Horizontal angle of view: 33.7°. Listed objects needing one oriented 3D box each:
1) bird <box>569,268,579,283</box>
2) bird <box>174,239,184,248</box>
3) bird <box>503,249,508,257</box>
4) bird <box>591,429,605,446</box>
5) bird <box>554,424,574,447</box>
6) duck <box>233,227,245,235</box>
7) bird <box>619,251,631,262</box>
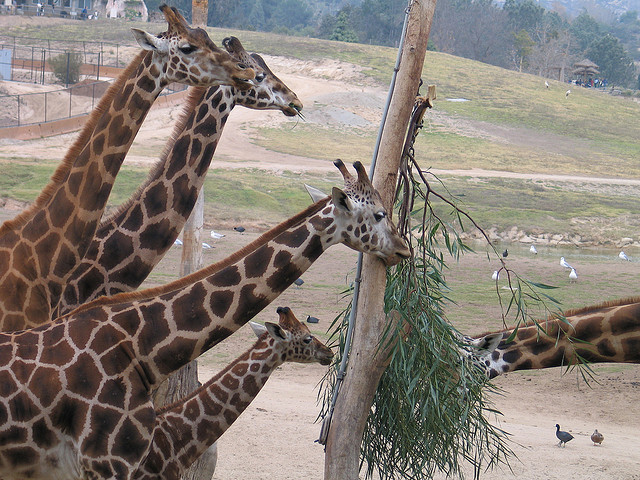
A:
[{"bbox_3d":[7.442,0.996,31.332,0.222,0.446,0.331,-6,-15,15],"label":"bird"},{"bbox_3d":[-3.613,0.063,27.203,0.237,0.108,0.237,0,-9,-1],"label":"bird"},{"bbox_3d":[5.549,0.367,31.853,0.187,0.249,0.092,25,51,31],"label":"bird"},{"bbox_3d":[5.464,3.893,20.974,0.174,0.244,0.399,-1,-28,8],"label":"bird"},{"bbox_3d":[4.773,3.823,20.829,0.345,0.273,0.540,10,10,14],"label":"bird"},{"bbox_3d":[-2.540,-0.360,33.471,0.369,0.239,0.132,-6,3,33],"label":"duck"},{"bbox_3d":[9.794,0.522,34.408,0.392,0.264,0.222,28,-41,-25],"label":"bird"}]
